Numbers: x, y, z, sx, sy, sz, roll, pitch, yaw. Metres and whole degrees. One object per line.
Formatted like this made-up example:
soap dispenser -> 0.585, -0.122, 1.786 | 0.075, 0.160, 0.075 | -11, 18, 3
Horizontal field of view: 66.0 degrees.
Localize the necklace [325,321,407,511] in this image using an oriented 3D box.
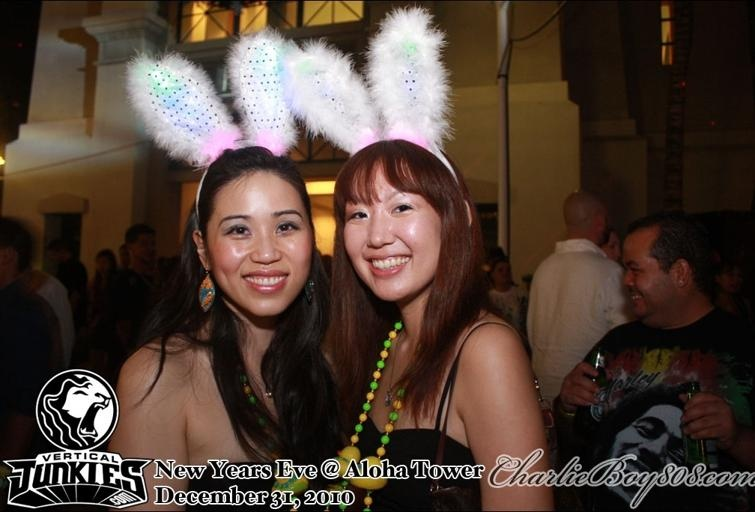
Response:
necklace -> 0.015, 0.759, 3.004 | 0.250, 1.129, 0.049 | -2, -34, 37
